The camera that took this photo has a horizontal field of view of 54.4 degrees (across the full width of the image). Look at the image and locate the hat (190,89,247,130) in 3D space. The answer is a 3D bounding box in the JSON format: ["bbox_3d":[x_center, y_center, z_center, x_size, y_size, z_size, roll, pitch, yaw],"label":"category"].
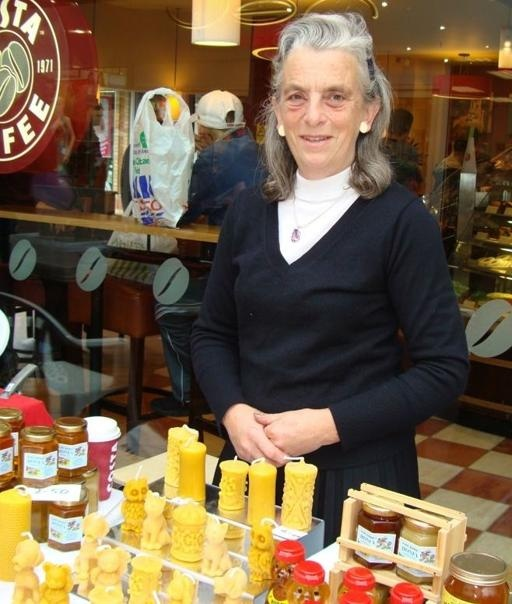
[{"bbox_3d":[-0.183,-0.921,2.326,0.211,0.131,0.272,-34,44,-30],"label":"hat"}]

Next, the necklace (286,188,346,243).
[{"bbox_3d":[0.130,-0.174,0.976,0.026,0.097,0.106,18,6,-33],"label":"necklace"}]

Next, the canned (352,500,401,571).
[{"bbox_3d":[0.156,0.288,0.617,0.060,0.069,0.054,1,-15,24],"label":"canned"}]

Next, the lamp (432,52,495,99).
[{"bbox_3d":[0.844,-0.918,2.040,0.192,0.113,0.183,-12,25,-33],"label":"lamp"}]

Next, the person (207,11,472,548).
[{"bbox_3d":[0.124,-0.128,0.982,0.377,0.852,0.505,-4,15,-27],"label":"person"}]
